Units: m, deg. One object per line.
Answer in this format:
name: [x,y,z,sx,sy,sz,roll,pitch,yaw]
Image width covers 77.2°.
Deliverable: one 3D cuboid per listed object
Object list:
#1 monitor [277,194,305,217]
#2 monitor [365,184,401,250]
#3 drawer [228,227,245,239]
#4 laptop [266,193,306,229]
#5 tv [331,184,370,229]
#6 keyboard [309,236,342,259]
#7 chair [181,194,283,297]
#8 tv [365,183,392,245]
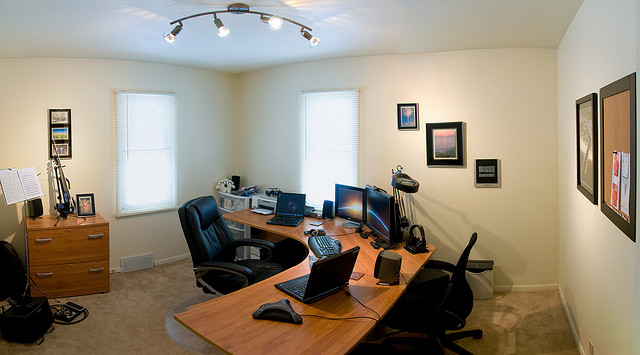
monitor: [-0.454,0.440,6.739,0.644,0.350,0.345,2,-1,16]
monitor: [0.952,0.544,5.805,0.330,0.804,0.965,-5,10,-13]
drawer: [-1.511,1.014,7.264,0.210,0.232,0.282,-5,9,-40]
laptop: [-0.552,0.534,6.499,0.664,0.398,0.528,3,8,22]
tv: [0.471,0.470,6.187,0.735,0.539,0.065,8,7,43]
keyboard: [0.077,0.943,5.575,0.435,0.059,0.636,-4,21,-12]
chair: [-1.185,0.893,5.481,1.026,1.237,0.948,0,8,27]
tv: [0.815,0.561,5.718,0.190,0.704,0.785,-8,17,-19]
